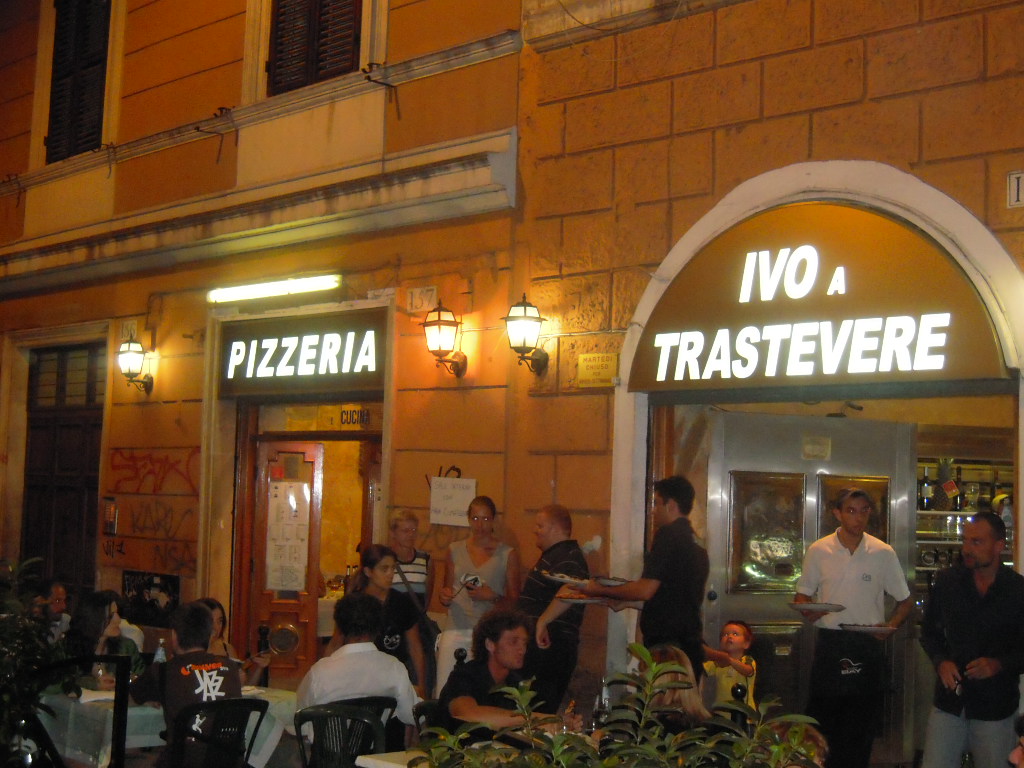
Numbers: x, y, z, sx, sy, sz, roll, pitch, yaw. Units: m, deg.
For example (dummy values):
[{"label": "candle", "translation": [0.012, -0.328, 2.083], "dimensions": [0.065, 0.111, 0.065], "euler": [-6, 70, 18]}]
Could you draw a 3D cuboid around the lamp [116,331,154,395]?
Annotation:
[{"label": "lamp", "translation": [-3.819, -0.183, 11.351], "dimensions": [0.368, 0.618, 0.274], "euler": [-5, -10, 38]}]

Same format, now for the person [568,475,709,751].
[{"label": "person", "translation": [0.941, 1.320, 7.632], "dimensions": [0.748, 1.408, 0.400], "euler": [0, -8, 8]}]

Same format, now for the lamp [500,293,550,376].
[{"label": "lamp", "translation": [0.120, -0.364, 8.683], "dimensions": [0.283, 0.607, 0.364], "euler": [-2, -9, 24]}]

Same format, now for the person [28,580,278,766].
[{"label": "person", "translation": [-2.235, 1.881, 7.005], "dimensions": [1.136, 0.804, 1.105], "euler": [8, -6, -41]}]

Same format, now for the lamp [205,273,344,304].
[{"label": "lamp", "translation": [-2.229, -0.875, 10.415], "dimensions": [1.632, 0.193, 0.079], "euler": [-4, -9, 33]}]

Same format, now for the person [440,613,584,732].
[{"label": "person", "translation": [-0.105, 1.593, 6.213], "dimensions": [0.778, 0.693, 0.622], "euler": [-14, -22, 41]}]

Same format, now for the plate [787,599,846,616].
[{"label": "plate", "translation": [2.164, 1.580, 7.893], "dimensions": [0.340, 0.145, 0.503], "euler": [-1, -8, 16]}]

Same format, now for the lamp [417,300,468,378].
[{"label": "lamp", "translation": [-0.562, -0.347, 9.189], "dimensions": [0.253, 0.605, 0.325], "euler": [-5, -10, 38]}]
